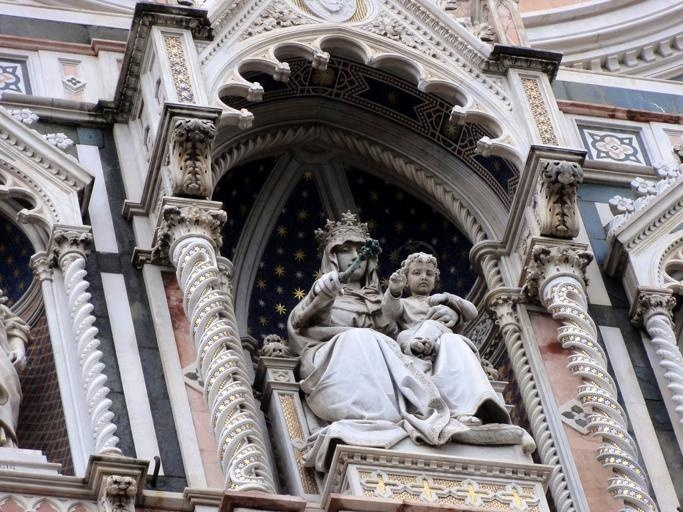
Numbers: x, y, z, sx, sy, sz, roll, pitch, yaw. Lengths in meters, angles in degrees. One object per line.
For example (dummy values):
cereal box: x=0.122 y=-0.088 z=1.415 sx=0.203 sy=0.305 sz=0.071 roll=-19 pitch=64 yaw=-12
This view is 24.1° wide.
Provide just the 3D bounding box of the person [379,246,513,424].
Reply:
person: x=0.829 y=0.736 z=13.572 sx=1.026 sy=2.138 sz=1.254 roll=1 pitch=-52 yaw=-5
